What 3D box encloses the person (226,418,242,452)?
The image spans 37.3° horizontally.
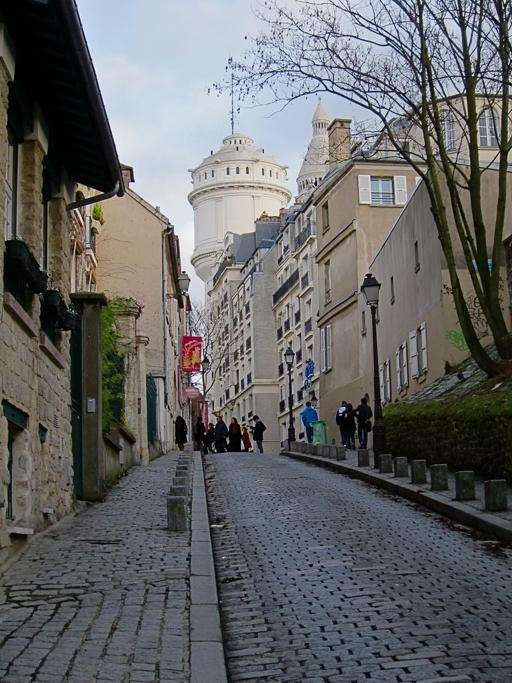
[{"bbox_3d":[-1.031,4.184,34.718,0.564,1.619,1.785,-2,-9,-3],"label":"person"}]
